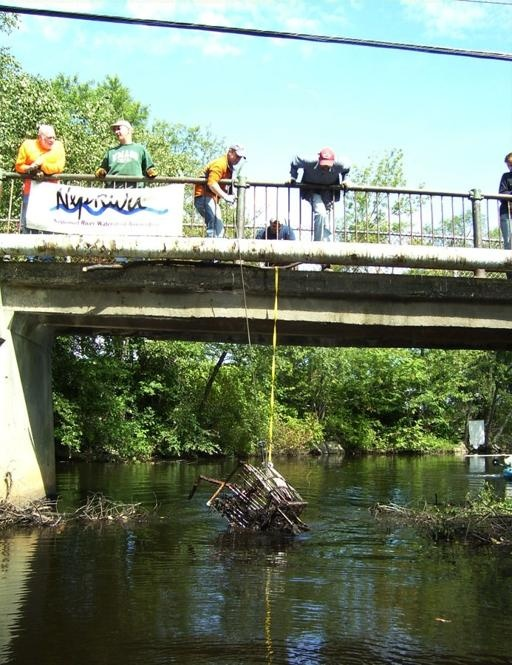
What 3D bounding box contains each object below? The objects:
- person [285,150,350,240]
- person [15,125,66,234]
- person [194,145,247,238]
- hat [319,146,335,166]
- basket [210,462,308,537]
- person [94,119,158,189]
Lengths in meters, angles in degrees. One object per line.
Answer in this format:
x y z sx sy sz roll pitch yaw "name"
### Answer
1.022 -2.148 13.258 0.930 1.459 0.639 0 -1 -3 "person"
-3.429 -2.471 13.203 0.740 1.843 0.658 0 -1 -16 "person"
-0.596 -2.190 13.215 0.754 1.418 0.911 0 -1 -5 "person"
1.111 -2.749 12.995 0.255 0.276 0.359 0 -2 4 "hat"
0.088 2.432 12.331 0.652 1.046 1.723 1 -2 -44 "basket"
-2.107 -2.910 13.463 0.924 1.237 1.250 0 -2 -10 "person"
